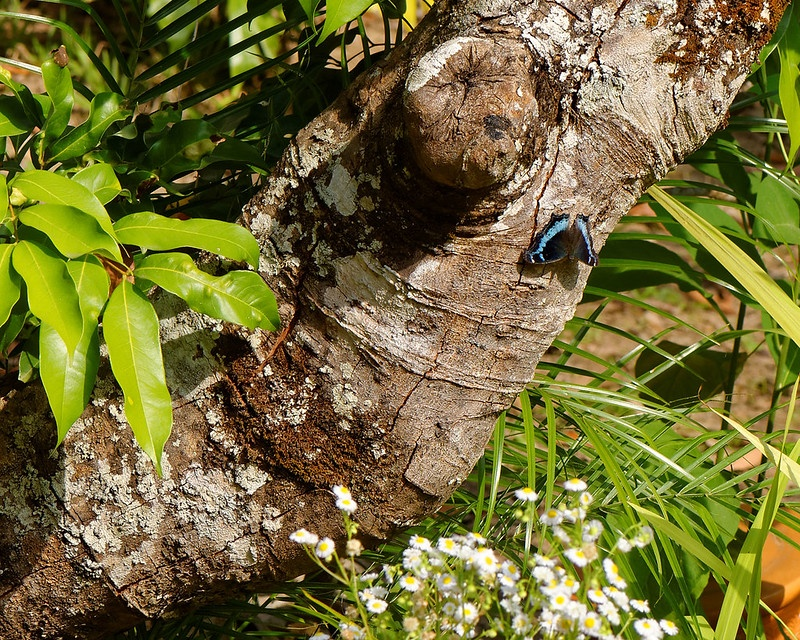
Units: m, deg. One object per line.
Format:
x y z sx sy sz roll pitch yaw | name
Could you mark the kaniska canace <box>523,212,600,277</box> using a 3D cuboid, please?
0.282 -0.141 2.373 0.135 0.090 0.034 2 1 -9 | kaniska canace
